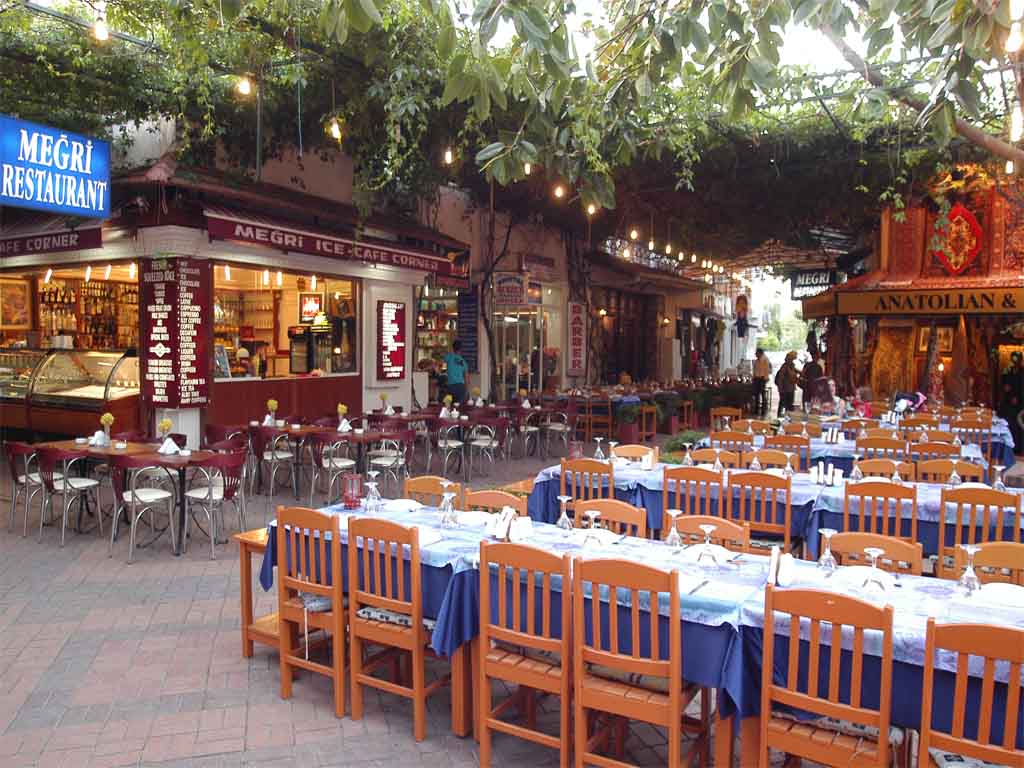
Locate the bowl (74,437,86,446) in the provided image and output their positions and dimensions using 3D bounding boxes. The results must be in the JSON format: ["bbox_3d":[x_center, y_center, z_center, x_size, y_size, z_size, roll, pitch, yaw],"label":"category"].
[{"bbox_3d":[-5.080,0.654,11.216,0.133,0.057,0.102,0,1,-2],"label":"bowl"}]

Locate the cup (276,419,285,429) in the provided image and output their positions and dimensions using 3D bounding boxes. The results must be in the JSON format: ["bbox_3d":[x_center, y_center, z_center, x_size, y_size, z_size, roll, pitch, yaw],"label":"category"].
[{"bbox_3d":[-3.294,0.554,13.609,0.085,0.102,0.082,2,4,0],"label":"cup"}]

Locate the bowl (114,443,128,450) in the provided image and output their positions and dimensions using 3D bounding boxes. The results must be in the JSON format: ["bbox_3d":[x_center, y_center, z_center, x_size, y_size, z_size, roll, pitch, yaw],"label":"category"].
[{"bbox_3d":[-4.591,0.709,11.200,0.094,0.039,0.102,3,3,0],"label":"bowl"}]

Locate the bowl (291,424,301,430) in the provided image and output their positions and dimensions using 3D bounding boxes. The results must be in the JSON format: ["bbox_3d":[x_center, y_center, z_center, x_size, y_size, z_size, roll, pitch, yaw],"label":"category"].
[{"bbox_3d":[-2.959,0.572,13.097,0.101,0.029,0.115,1,6,18],"label":"bowl"}]

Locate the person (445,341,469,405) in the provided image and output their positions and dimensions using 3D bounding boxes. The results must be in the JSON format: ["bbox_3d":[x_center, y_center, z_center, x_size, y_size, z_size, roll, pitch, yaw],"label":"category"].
[{"bbox_3d":[-1.034,-0.015,17.551,0.397,1.544,0.363,3,-5,-34],"label":"person"}]
